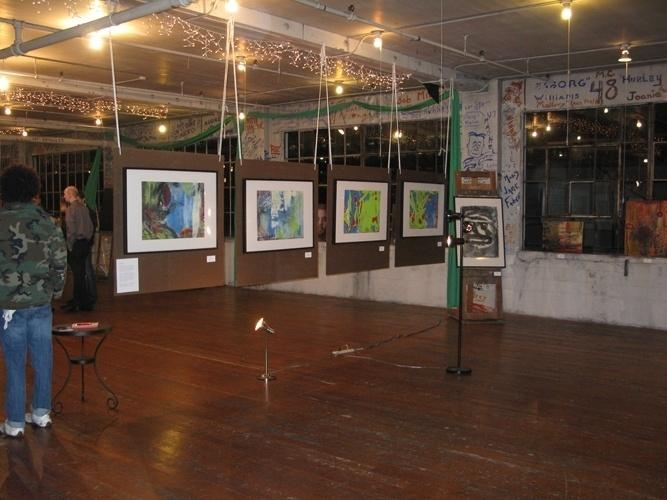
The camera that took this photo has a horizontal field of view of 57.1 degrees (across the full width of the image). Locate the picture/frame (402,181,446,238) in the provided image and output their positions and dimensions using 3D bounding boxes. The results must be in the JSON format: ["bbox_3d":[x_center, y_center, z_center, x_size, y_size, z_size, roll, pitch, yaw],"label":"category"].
[{"bbox_3d":[1.487,-0.641,10.023,0.966,0.925,0.038,-2,4,-34],"label":"picture/frame"}]

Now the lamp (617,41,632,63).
[{"bbox_3d":[4.493,-2.985,9.374,0.251,0.306,0.269,1,-1,27],"label":"lamp"}]

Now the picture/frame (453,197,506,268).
[{"bbox_3d":[2.545,-0.324,10.592,0.874,1.329,0.024,1,-24,12],"label":"picture/frame"}]

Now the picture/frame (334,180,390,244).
[{"bbox_3d":[0.426,-0.546,8.914,0.957,0.902,0.034,-2,5,-33],"label":"picture/frame"}]

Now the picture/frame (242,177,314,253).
[{"bbox_3d":[-0.731,-0.442,7.723,0.039,0.760,0.884,0,2,39],"label":"picture/frame"}]
